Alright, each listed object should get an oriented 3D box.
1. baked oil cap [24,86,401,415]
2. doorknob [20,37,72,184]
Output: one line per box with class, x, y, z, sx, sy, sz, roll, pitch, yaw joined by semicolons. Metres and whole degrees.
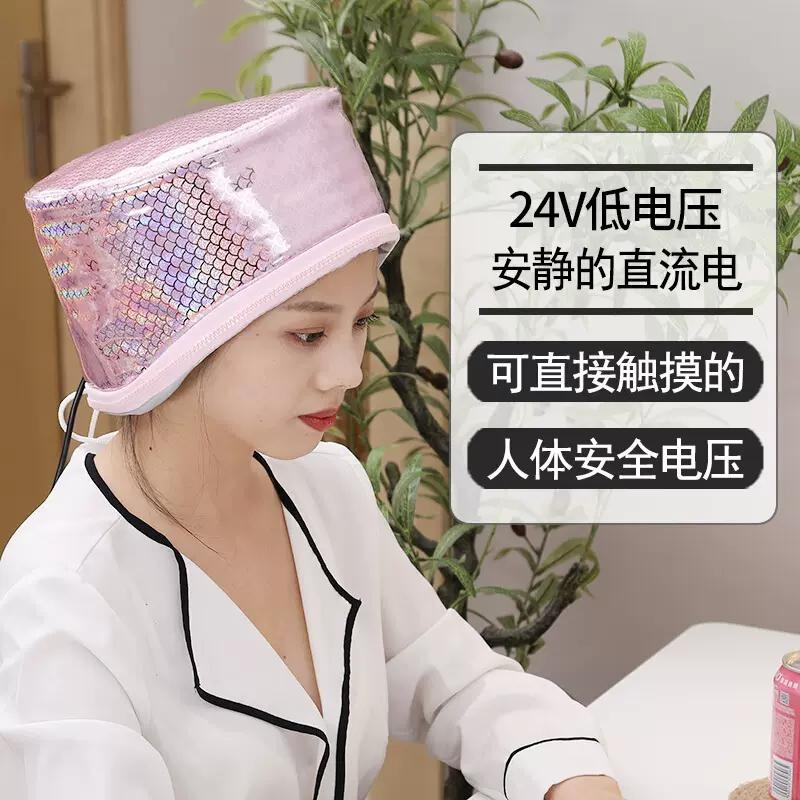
baked oil cap;-0.188;-0.172;1.165;0.353;0.291;0.356;-14;18;-9
doorknob;-0.543;-0.446;1.707;0.068;0.236;0.023;-3;47;-17
